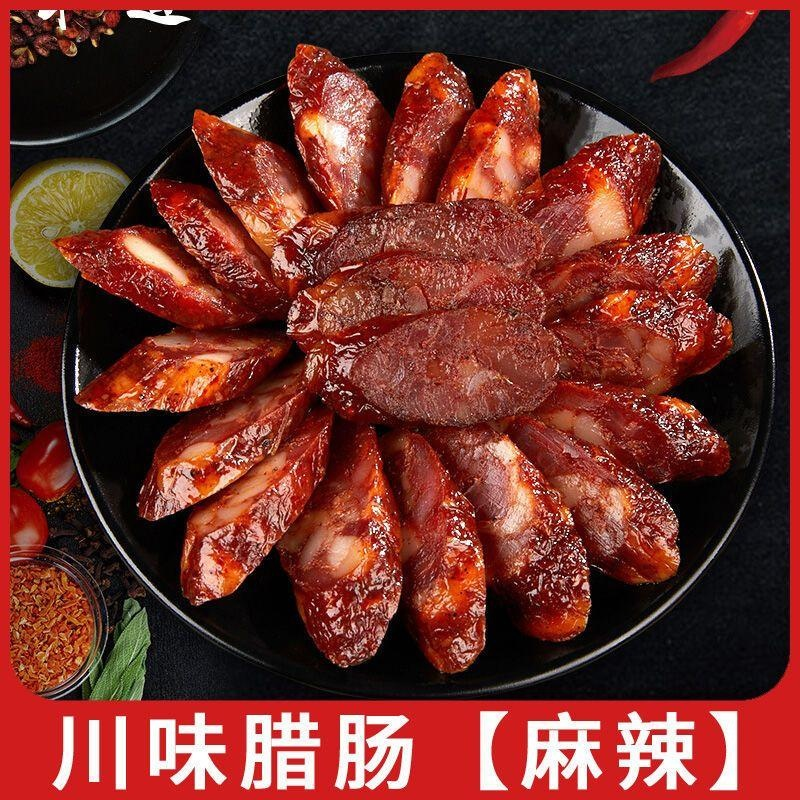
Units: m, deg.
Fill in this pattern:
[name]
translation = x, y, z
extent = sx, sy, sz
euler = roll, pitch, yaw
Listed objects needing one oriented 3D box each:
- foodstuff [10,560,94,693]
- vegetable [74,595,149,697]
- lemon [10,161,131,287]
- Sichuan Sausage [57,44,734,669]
[foodstuff]
translation = -1.049, 0.699, 2.931
extent = 0.371, 0.150, 0.246
euler = -21, 45, -18
[vegetable]
translation = -0.834, 0.794, 2.961
extent = 0.119, 0.041, 0.389
euler = 11, 63, -16
[lemon]
translation = -1.091, -0.538, 3.156
extent = 0.262, 0.407, 0.435
euler = 15, 38, 25
[Sichuan Sausage]
translation = 0.059, -0.124, 2.628
extent = 1.656, 0.492, 1.667
euler = 19, 79, 8
